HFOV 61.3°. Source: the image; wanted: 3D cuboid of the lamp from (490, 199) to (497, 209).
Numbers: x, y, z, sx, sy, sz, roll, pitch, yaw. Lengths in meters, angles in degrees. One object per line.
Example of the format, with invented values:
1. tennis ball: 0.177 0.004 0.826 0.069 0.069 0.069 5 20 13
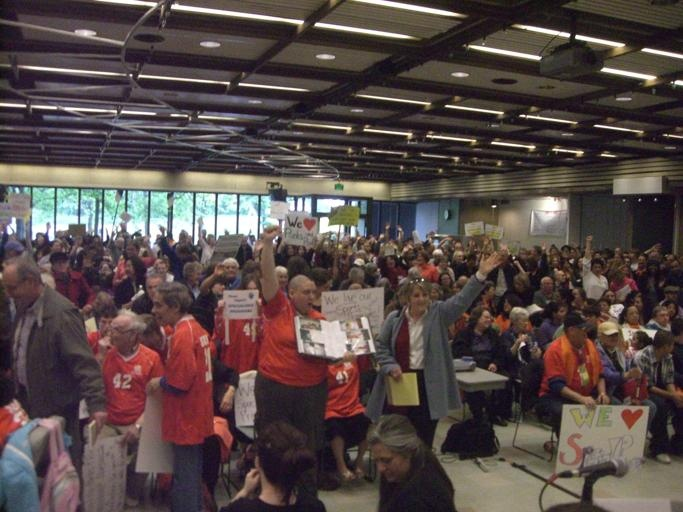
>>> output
1. lamp: 6.711 -2.210 25.212 0.285 0.319 0.289 3 7 45

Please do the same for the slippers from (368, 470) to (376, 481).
1. slippers: 0.334 2.464 6.469 0.094 0.022 0.091 1 3 15

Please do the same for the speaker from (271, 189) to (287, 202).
1. speaker: -2.122 -2.010 19.338 0.590 0.324 0.796 -3 9 -9

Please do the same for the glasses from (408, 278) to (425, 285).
1. glasses: 0.742 0.248 5.649 0.124 0.064 0.223 1 -1 -14

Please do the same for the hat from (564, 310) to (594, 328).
1. hat: 2.763 0.749 6.696 0.286 0.169 0.212 1 4 0

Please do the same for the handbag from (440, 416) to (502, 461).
1. handbag: 1.587 2.215 7.040 0.584 0.398 0.419 -1 -2 -11
